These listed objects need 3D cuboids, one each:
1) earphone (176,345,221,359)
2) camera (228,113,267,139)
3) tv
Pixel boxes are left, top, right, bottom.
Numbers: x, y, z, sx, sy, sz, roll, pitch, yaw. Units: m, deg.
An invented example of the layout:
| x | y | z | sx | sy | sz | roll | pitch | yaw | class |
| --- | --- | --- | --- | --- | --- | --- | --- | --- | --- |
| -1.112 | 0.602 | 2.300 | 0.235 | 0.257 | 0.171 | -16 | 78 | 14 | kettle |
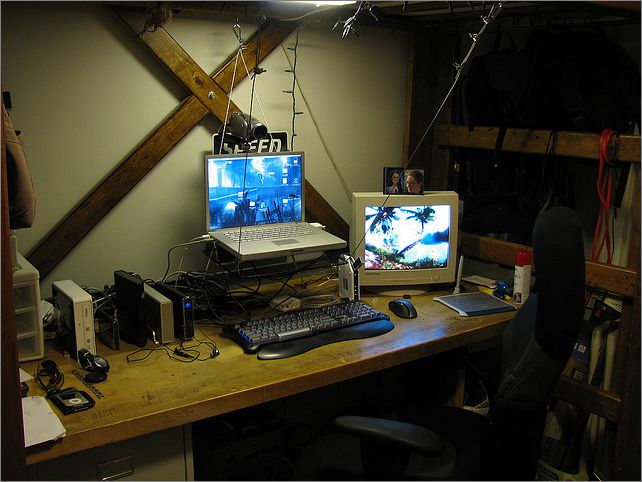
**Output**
| x | y | z | sx | sy | sz | roll | pitch | yaw | class |
| --- | --- | --- | --- | --- | --- | --- | --- | --- | --- |
| -0.526 | 0.470 | 2.186 | 0.126 | 0.022 | 0.068 | 5 | 12 | 24 | earphone |
| -0.354 | -0.532 | 2.518 | 0.114 | 0.085 | 0.209 | 13 | 17 | -37 | camera |
| 0.448 | -0.002 | 2.931 | 0.543 | 0.536 | 0.323 | 1 | 8 | 0 | tv |
